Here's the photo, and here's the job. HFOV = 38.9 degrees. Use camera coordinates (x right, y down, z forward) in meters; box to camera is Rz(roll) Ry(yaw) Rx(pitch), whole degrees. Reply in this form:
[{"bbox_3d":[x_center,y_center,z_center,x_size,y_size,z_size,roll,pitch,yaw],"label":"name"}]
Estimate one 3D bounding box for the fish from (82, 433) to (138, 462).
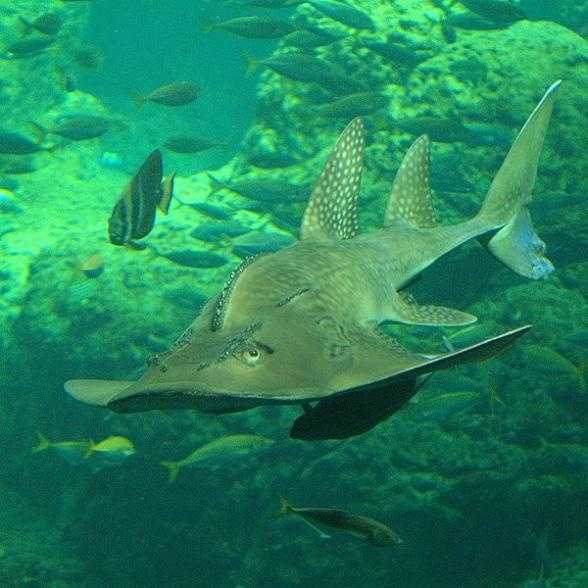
[{"bbox_3d":[-2.299,1.962,10.336,0.600,0.596,0.347,-6,42,-12],"label":"fish"}]
